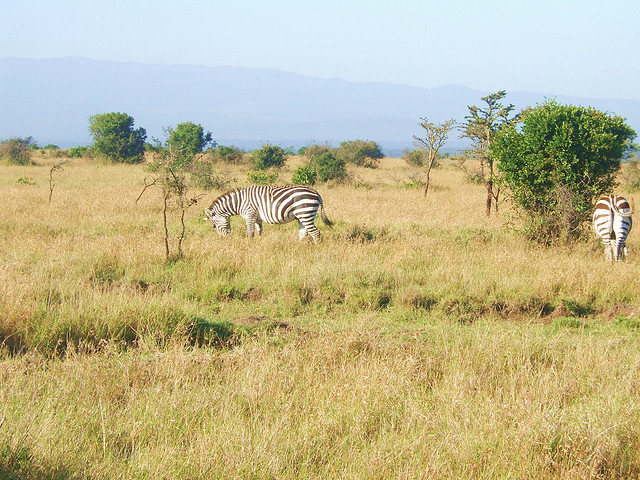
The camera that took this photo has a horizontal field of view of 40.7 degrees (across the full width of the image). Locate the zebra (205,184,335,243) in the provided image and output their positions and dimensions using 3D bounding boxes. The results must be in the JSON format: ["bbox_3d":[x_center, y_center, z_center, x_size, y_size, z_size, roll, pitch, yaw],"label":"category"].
[{"bbox_3d":[-1.601,-0.641,21.184,3.939,2.073,1.193,1,0,12],"label":"zebra"}]

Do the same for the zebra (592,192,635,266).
[{"bbox_3d":[6.097,-0.274,18.110,0.769,1.299,1.197,3,7,18],"label":"zebra"}]
